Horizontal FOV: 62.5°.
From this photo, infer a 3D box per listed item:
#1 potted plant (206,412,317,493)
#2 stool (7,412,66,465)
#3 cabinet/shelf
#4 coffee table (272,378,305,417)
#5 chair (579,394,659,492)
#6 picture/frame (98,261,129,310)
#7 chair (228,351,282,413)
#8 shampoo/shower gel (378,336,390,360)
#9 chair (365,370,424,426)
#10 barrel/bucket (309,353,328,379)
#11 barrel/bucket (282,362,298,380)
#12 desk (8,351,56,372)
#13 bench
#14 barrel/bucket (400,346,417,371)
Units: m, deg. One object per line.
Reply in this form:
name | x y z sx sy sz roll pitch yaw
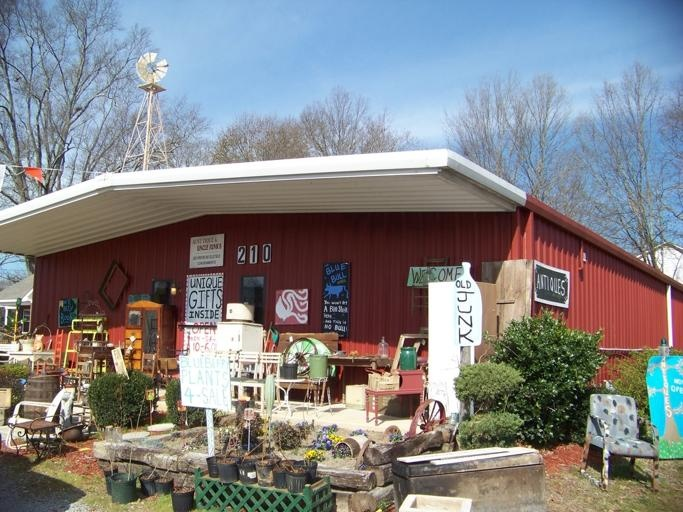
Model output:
potted plant | -1.024 2.803 8.063 1.671 0.796 1.095 -5 -11 26
stool | -5.601 3.299 10.295 0.928 0.950 0.914 2 -1 39
cabinet/shelf | -5.280 2.201 15.574 1.559 1.905 0.621 -4 -9 26
coffee table | -1.169 2.811 11.720 0.695 0.623 0.744 2 -1 -23
chair | 4.228 2.720 8.501 0.780 1.332 0.916 7 -8 -1
picture/frame | -6.936 0.928 17.149 0.102 1.039 0.971 12 -45 -46
chair | -1.893 2.587 12.038 1.120 1.134 3.038 2 -10 -11
shampoo/shower gel | 0.867 1.933 12.190 0.244 0.418 0.343 -4 -10 22
chair | 0.997 2.562 10.373 1.083 0.924 1.515 -1 -10 8
barrel/bucket | -0.441 2.287 11.690 0.373 0.456 0.414 -3 -11 14
barrel/bucket | -1.112 2.396 11.779 0.355 0.335 0.407 0 -9 2
desk | -9.398 3.153 17.032 1.212 0.517 1.429 6 -12 -32
bench | -0.723 2.503 12.347 1.210 1.343 0.463 -5 -11 33
barrel/bucket | 1.259 1.895 10.467 0.275 0.402 0.321 0 -9 2
